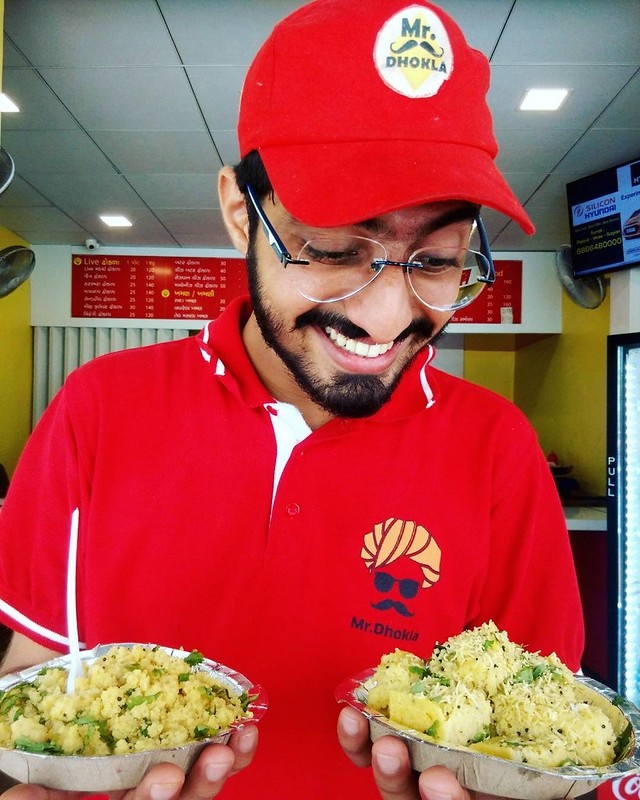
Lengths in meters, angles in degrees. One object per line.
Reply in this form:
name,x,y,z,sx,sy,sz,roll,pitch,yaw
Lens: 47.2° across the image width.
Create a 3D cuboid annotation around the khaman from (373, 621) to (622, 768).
khaman,0.252,0.412,1.017,0.364,0.131,0.251,0,0,-22
